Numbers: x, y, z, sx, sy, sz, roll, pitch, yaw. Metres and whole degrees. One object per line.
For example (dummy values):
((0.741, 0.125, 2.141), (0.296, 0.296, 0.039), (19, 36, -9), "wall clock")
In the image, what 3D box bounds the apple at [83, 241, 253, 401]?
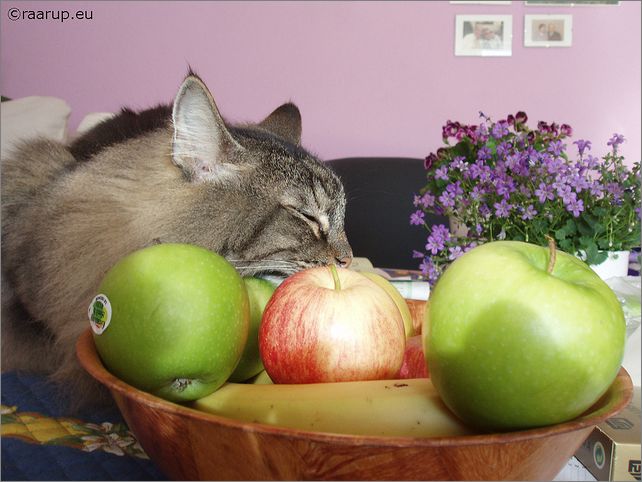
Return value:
((-0.236, 0.102, 0.970), (0.210, 0.222, 0.227), (-29, -42, 31), "apple")

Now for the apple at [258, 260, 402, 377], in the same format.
((0.013, 0.146, 0.903), (0.155, 0.192, 0.173), (-1, -14, 2), "apple")

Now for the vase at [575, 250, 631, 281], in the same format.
((0.591, 0.052, 1.234), (0.088, 0.082, 0.098), (0, -1, 4), "vase")
